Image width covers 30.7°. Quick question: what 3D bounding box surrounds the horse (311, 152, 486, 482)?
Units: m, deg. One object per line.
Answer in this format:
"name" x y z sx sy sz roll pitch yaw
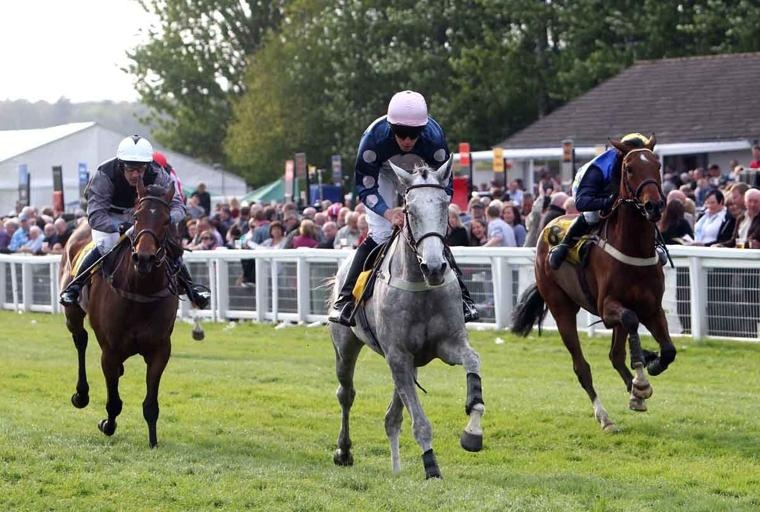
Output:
"horse" 0.402 0.936 19.606 2.561 4.410 1.074 8 17 32

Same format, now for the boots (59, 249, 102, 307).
"boots" -4.602 0.371 21.197 0.320 0.259 0.944 -1 -44 -53

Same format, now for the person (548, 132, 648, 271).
"person" 3.476 -0.711 21.371 0.967 1.489 2.599 6 -21 -17

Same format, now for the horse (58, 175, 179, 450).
"horse" -4.203 0.673 21.159 2.504 3.675 2.162 4 15 18

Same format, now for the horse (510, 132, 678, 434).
"horse" 3.468 0.315 21.185 1.063 4.248 2.841 -9 17 -30

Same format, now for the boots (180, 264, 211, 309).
"boots" -3.242 0.535 24.160 0.271 0.818 0.472 -18 -3 -2
